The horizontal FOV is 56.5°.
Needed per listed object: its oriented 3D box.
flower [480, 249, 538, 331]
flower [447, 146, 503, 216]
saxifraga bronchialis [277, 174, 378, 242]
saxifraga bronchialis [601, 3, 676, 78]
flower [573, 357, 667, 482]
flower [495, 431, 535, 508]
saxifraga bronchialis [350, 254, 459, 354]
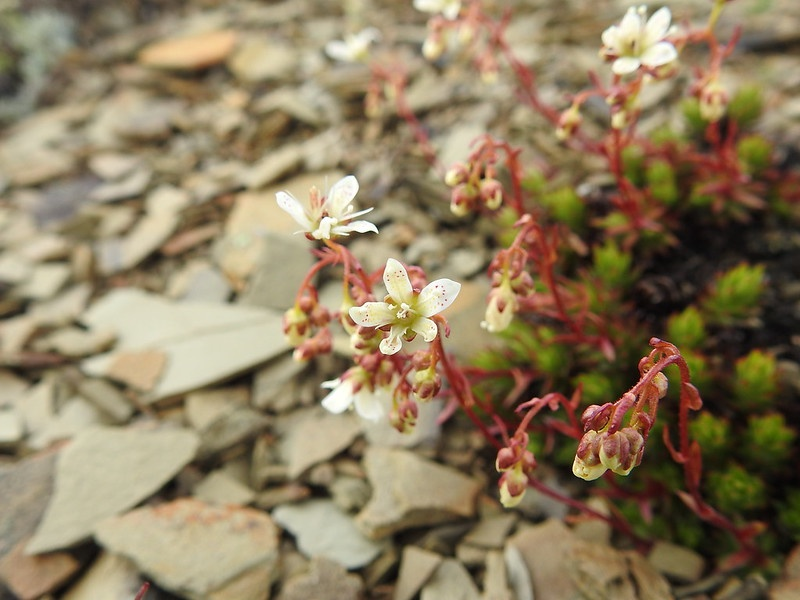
[{"bbox_3d":[0.489,-0.034,3.307,0.206,0.370,0.119,10,59,15],"label":"flower"},{"bbox_3d":[0.329,-0.507,3.271,0.224,0.223,0.234,-12,59,8],"label":"flower"},{"bbox_3d":[-0.290,-0.325,3.171,0.372,0.160,0.386,-11,66,-7],"label":"saxifraga bronchialis"},{"bbox_3d":[1.030,-1.124,3.237,0.298,0.149,0.308,-9,60,9],"label":"saxifraga bronchialis"},{"bbox_3d":[0.870,0.483,2.913,0.241,0.222,0.550,36,108,58],"label":"flower"},{"bbox_3d":[0.495,0.699,3.121,0.156,0.304,0.132,-2,11,-28],"label":"flower"},{"bbox_3d":[0.039,0.023,2.895,0.381,0.277,0.284,-42,60,-11],"label":"saxifraga bronchialis"}]
